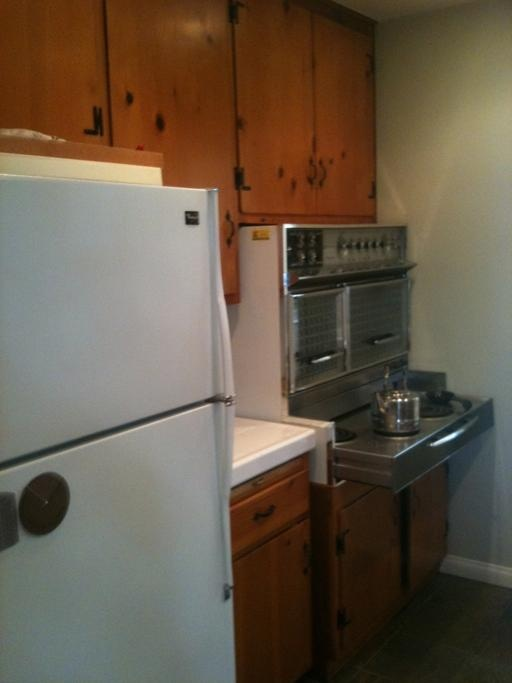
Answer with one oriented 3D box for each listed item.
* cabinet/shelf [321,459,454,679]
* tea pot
[{"bbox_3d":[0.484,0.880,2.172,0.220,0.639,0.663,1,9,28],"label":"cabinet/shelf"},{"bbox_3d":[0.513,0.216,2.094,0.165,0.243,0.124,-3,3,-23],"label":"tea pot"}]
